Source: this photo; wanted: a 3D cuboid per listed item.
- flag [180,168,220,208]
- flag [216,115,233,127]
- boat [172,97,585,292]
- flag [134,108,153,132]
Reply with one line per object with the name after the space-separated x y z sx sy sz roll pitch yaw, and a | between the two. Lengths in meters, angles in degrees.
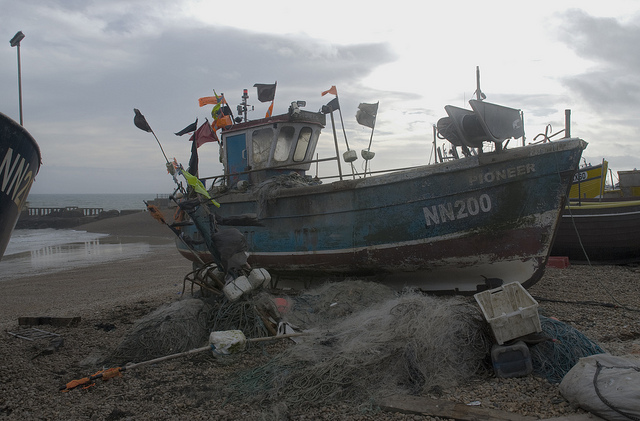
-1.908 -0.380 7.108 0.394 0.469 0.646 -2 2 -10 | flag
-2.160 -2.047 10.323 0.336 0.164 0.231 -11 21 14 | flag
0.305 -0.119 9.580 8.776 3.788 3.257 -3 0 26 | boat
-3.267 -1.661 8.313 0.235 0.460 0.742 -3 2 -21 | flag
